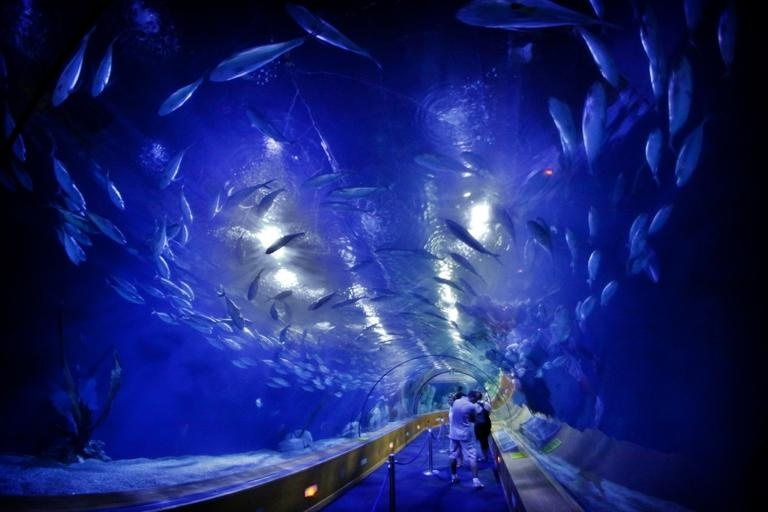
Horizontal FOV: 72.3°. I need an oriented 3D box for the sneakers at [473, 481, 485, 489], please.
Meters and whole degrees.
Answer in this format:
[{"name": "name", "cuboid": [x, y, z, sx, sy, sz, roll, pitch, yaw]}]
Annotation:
[{"name": "sneakers", "cuboid": [2.368, 5.897, 13.142, 0.159, 0.211, 0.496, -9, -22, 20]}]
